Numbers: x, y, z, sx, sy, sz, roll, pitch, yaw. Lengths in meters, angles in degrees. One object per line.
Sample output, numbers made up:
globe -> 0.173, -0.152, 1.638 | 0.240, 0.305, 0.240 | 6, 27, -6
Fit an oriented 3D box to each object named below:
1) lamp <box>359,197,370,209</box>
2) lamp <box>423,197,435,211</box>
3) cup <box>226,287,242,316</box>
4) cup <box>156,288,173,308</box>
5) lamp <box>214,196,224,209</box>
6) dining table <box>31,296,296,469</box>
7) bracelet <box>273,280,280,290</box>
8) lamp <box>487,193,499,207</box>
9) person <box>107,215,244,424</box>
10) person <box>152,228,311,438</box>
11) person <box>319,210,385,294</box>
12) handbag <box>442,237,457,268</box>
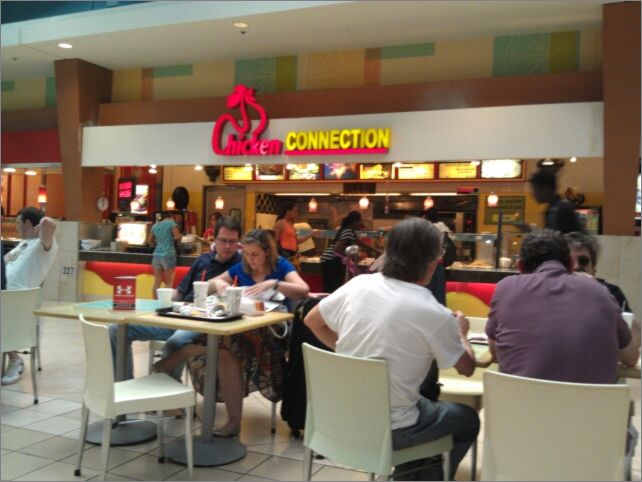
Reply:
lamp -> 0.814, -0.683, 10.179 | 0.198, 0.208, 0.197 | -1, 10, -11
lamp -> 1.978, -0.676, 10.121 | 0.203, 0.242, 0.202 | 3, -2, -15
cup -> -0.601, 0.408, 3.772 | 0.108, 0.180, 0.084 | -1, 3, -10
cup -> -1.146, 0.410, 4.038 | 0.131, 0.131, 0.132 | 4, 0, 0
lamp -> -2.287, -0.831, 12.065 | 0.242, 0.309, 0.244 | -1, -6, 11
dining table -> -1.130, 0.982, 3.943 | 1.891, 1.219, 1.047 | 3, 4, 27
bracelet -> -0.351, 0.340, 4.240 | 0.069, 0.069, 0.033 | -3, 4, -43
lamp -> 3.041, -0.721, 9.707 | 0.233, 0.231, 0.227 | -2, 5, -14
person -> -1.171, 0.591, 4.475 | 0.762, 1.704, 1.083 | 10, -6, 44
person -> -0.753, 0.633, 4.392 | 1.121, 1.480, 0.925 | 9, -11, -6
person -> 0.350, 0.292, 7.122 | 0.779, 1.349, 0.461 | 1, 8, -30
handbag -> 1.383, 0.118, 6.015 | 0.221, 0.289, 0.262 | -5, -24, 10
